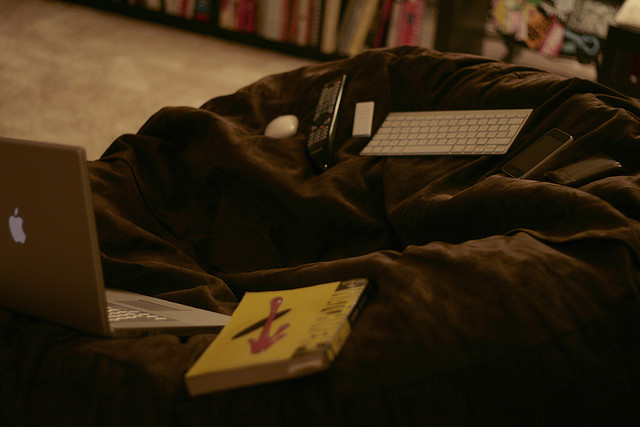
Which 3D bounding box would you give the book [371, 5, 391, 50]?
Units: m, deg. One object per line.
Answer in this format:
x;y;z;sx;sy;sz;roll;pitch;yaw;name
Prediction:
0.344;-1.060;3.031;0.046;0.240;0.065;18;36;6;book

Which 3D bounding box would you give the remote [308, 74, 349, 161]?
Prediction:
0.040;-0.270;1.506;0.081;0.041;0.303;-11;47;32;remote

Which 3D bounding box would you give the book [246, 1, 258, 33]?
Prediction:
-0.408;-1.182;3.208;0.069;0.195;0.027;20;36;8;book

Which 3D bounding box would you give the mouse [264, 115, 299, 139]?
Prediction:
-0.109;-0.246;1.499;0.090;0.024;0.066;-31;62;-27;mouse
